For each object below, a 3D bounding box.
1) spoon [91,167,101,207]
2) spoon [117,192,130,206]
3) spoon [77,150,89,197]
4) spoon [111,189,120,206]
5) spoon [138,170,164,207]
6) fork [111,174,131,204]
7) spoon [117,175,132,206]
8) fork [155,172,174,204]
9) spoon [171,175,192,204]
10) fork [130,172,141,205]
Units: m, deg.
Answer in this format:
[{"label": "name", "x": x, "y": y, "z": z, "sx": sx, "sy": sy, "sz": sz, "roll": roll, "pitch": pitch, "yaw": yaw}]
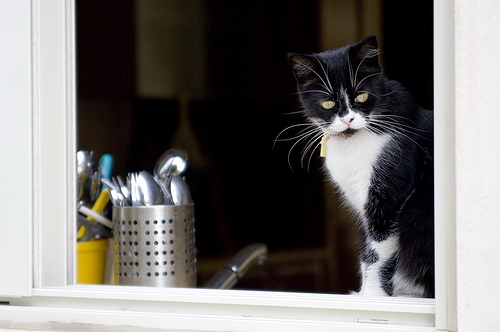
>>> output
[{"label": "spoon", "x": -0.392, "y": 0.052, "z": 1.646, "sx": 0.017, "sy": 0.090, "sz": 0.012, "roll": 4, "pitch": -11, "yaw": -6}, {"label": "spoon", "x": -0.309, "y": 0.080, "z": 1.581, "sx": 0.028, "sy": 0.033, "sz": 0.010, "roll": -1, "pitch": -4, "yaw": -7}, {"label": "spoon", "x": -0.416, "y": 0.013, "z": 1.595, "sx": 0.025, "sy": 0.106, "sz": 0.064, "roll": -2, "pitch": -4, "yaw": 5}, {"label": "spoon", "x": -0.329, "y": 0.079, "z": 1.585, "sx": 0.013, "sy": 0.056, "sz": 0.011, "roll": -9, "pitch": -8, "yaw": -13}, {"label": "spoon", "x": -0.241, "y": 0.060, "z": 1.564, "sx": 0.050, "sy": 0.085, "sz": 0.024, "roll": -22, "pitch": -6, "yaw": -23}, {"label": "fork", "x": -0.316, "y": 0.060, "z": 1.594, "sx": 0.022, "sy": 0.106, "sz": 0.018, "roll": -19, "pitch": -22, "yaw": -2}, {"label": "spoon", "x": -0.308, "y": 0.056, "z": 1.595, "sx": 0.018, "sy": 0.096, "sz": 0.013, "roll": -7, "pitch": -26, "yaw": -27}, {"label": "fork", "x": -0.208, "y": 0.060, "z": 1.618, "sx": 0.012, "sy": 0.052, "sz": 0.050, "roll": -22, "pitch": -15, "yaw": -5}, {"label": "spoon", "x": -0.170, "y": 0.058, "z": 1.608, "sx": 0.047, "sy": 0.073, "sz": 0.040, "roll": -2, "pitch": -4, "yaw": -3}, {"label": "fork", "x": -0.275, "y": 0.057, "z": 1.566, "sx": 0.018, "sy": 0.088, "sz": 0.012, "roll": -2, "pitch": 0, "yaw": 21}]
